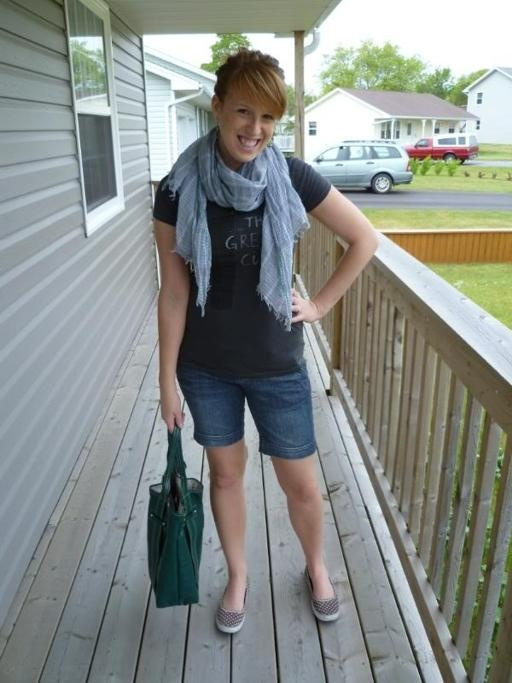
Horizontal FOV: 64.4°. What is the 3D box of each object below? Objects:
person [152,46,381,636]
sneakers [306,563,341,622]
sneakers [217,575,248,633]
[{"bbox_3d":[0.013,0.040,0.981,0.338,1.322,0.252,-1,4,-2],"label":"person"},{"bbox_3d":[0.208,0.789,1.295,0.062,0.077,0.215,3,15,-3],"label":"sneakers"},{"bbox_3d":[-0.073,0.815,1.274,0.067,0.074,0.227,3,5,5],"label":"sneakers"}]
